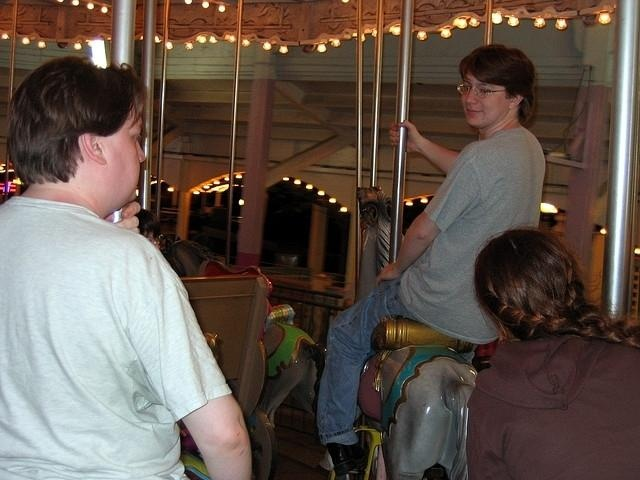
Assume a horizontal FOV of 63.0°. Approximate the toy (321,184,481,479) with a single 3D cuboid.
[{"bbox_3d":[0.423,0.488,2.852,0.998,1.441,0.328,2,-2,28],"label":"toy"}]
